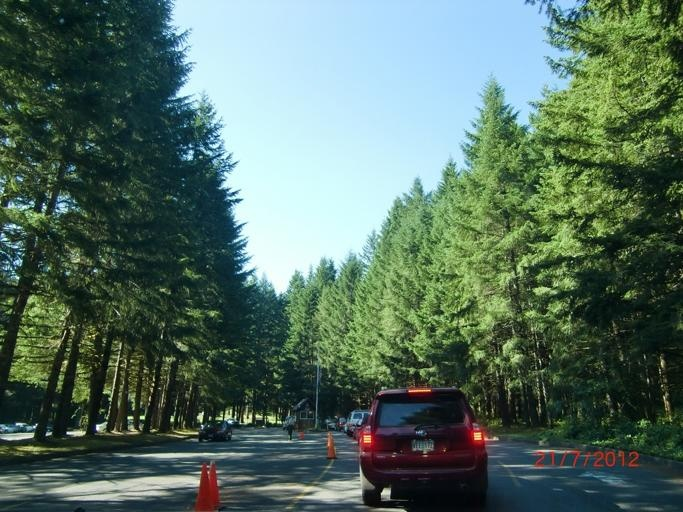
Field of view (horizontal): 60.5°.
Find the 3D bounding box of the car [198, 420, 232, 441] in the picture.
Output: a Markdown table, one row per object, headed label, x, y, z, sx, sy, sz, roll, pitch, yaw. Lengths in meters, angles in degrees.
| label | x | y | z | sx | sy | sz | roll | pitch | yaw |
| --- | --- | --- | --- | --- | --- | --- | --- | --- | --- |
| car | -9.110 | 12.809 | 42.852 | 1.588 | 1.820 | 4.045 | 2 | -23 | -1 |
